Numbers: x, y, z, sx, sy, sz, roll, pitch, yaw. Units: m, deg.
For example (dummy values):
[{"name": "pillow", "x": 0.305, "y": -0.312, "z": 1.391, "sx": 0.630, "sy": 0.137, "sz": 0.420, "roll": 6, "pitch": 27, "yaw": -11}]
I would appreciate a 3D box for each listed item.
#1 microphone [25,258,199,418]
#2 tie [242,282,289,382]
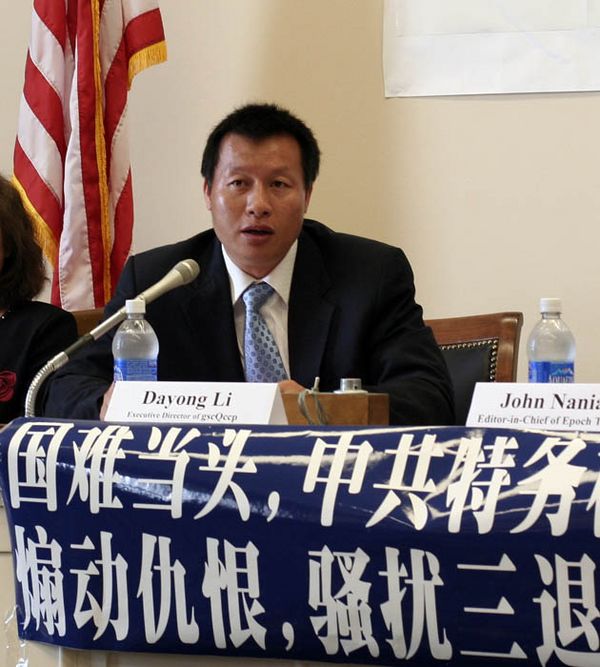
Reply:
[{"name": "microphone", "x": -0.336, "y": -0.014, "z": 1.131, "sx": 0.295, "sy": 0.182, "sz": 0.336, "roll": -10, "pitch": 12, "yaw": -40}, {"name": "tie", "x": -0.072, "y": -0.005, "z": 1.446, "sx": 0.082, "sy": 0.178, "sz": 0.183, "roll": -2, "pitch": 9, "yaw": -4}]
